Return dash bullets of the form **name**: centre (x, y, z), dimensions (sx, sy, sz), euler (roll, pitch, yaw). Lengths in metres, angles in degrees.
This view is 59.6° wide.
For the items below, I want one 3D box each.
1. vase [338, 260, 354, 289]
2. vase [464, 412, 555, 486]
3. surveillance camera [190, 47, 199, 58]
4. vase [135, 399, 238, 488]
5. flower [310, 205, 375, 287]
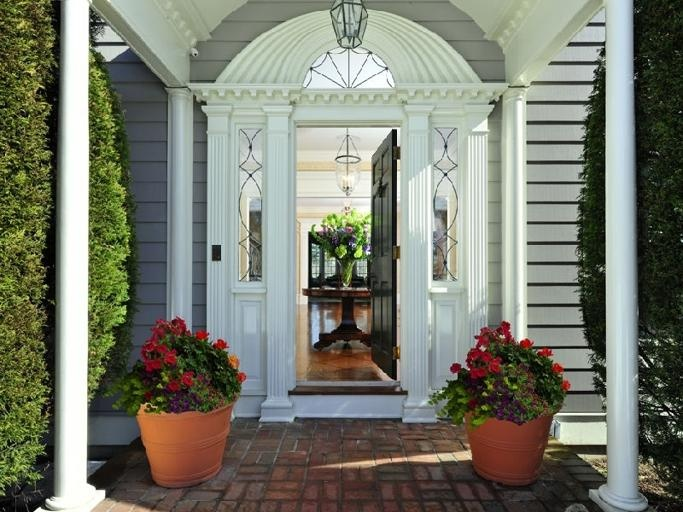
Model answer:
- **vase**: centre (0.059, 0.230, 8.014), dimensions (0.303, 0.410, 0.308), euler (1, 1, 4)
- **vase**: centre (1.165, 1.318, 4.183), dimensions (0.528, 0.431, 0.493), euler (0, -3, 14)
- **surveillance camera**: centre (-1.313, -1.815, 5.317), dimensions (0.077, 0.090, 0.145), euler (-2, 10, -11)
- **vase**: centre (-1.096, 1.329, 4.363), dimensions (0.537, 0.452, 0.589), euler (-1, -7, 2)
- **flower**: centre (0.021, -0.094, 7.893), dimensions (0.707, 1.061, 0.552), euler (0, 9, 3)
